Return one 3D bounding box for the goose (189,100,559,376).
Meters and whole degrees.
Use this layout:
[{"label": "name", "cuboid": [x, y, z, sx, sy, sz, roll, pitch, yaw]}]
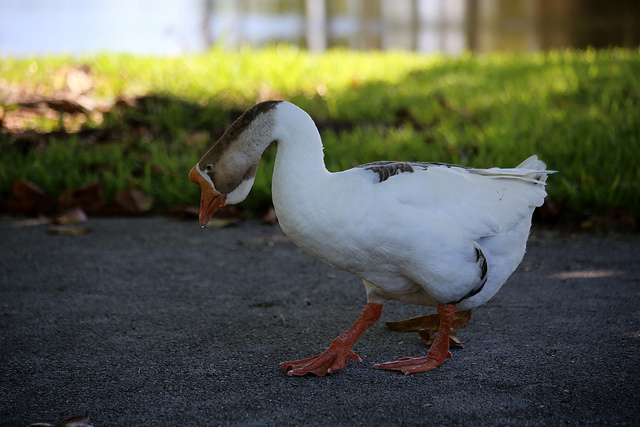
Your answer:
[{"label": "goose", "cuboid": [0.128, 0.059, 5.138, 2.289, 1.431, 1.867, -9, 11, -42]}]
